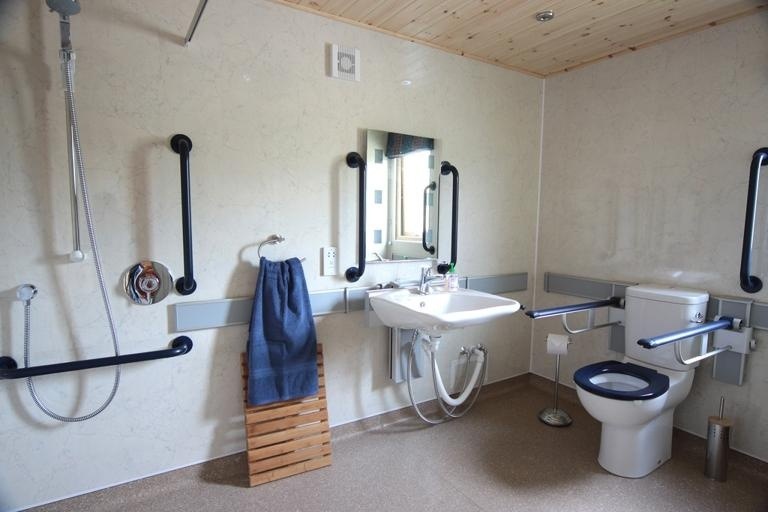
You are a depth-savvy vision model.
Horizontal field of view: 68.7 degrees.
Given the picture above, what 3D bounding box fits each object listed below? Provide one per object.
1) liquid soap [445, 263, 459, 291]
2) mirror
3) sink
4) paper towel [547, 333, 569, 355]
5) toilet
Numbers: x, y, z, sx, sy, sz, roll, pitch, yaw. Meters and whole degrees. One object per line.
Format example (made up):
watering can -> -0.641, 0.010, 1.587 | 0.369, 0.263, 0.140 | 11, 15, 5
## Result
liquid soap -> 0.490, 0.145, 4.089 | 0.082, 0.173, 0.233 | 1, 6, 11
mirror -> 0.131, -0.438, 4.082 | 0.594, 0.921, 0.098 | -5, 7, -34
sink -> 0.367, 0.350, 3.772 | 0.702, 0.205, 0.819 | -5, 8, -37
paper towel -> 1.261, 0.618, 4.150 | 0.175, 0.167, 0.138 | 3, 6, 34
toilet -> 1.717, 0.834, 3.767 | 0.865, 1.199, 0.572 | -6, 8, -38
